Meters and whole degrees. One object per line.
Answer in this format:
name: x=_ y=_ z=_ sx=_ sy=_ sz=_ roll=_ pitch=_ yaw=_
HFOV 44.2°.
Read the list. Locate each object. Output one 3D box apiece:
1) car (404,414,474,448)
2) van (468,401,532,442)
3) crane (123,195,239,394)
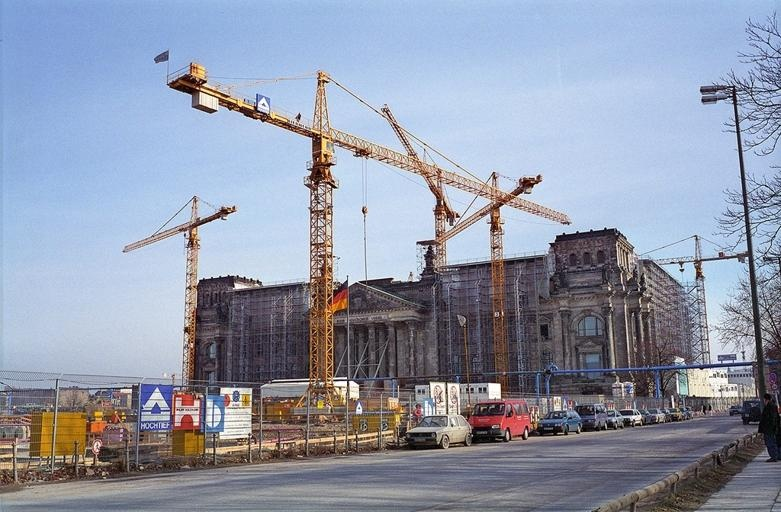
car: x=2.790 y=9.803 z=54.307 sx=2.156 sy=1.660 sz=4.446 roll=-4 pitch=-9 yaw=29
van: x=6.791 y=10.166 z=60.030 sx=2.451 sy=2.411 sz=5.167 roll=-5 pitch=-10 yaw=28
crane: x=-27.853 y=3.940 z=128.729 sx=19.497 sy=23.162 sz=2.005 roll=-13 pitch=-17 yaw=28
